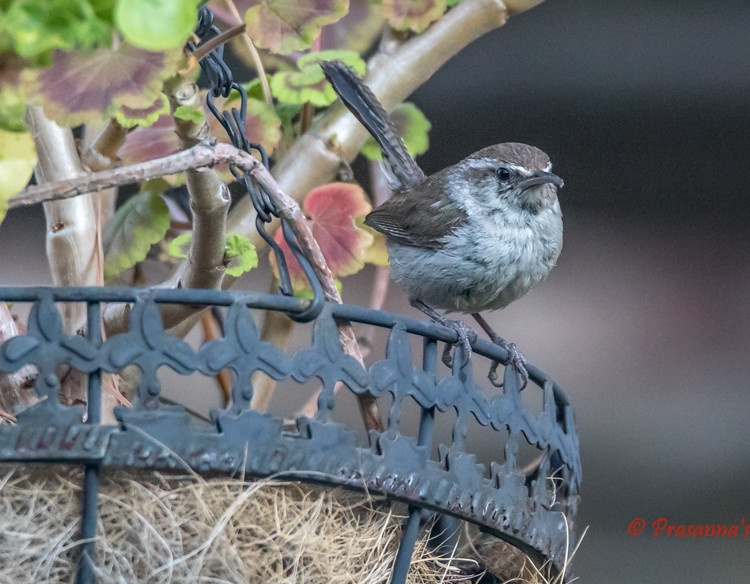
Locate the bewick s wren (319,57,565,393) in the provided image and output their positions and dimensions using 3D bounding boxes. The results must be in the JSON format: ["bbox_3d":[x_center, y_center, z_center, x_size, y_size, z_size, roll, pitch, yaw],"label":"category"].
[{"bbox_3d":[0.129,-0.139,4.505,0.287,0.602,0.763,-9,24,-42],"label":"bewick s wren"}]
